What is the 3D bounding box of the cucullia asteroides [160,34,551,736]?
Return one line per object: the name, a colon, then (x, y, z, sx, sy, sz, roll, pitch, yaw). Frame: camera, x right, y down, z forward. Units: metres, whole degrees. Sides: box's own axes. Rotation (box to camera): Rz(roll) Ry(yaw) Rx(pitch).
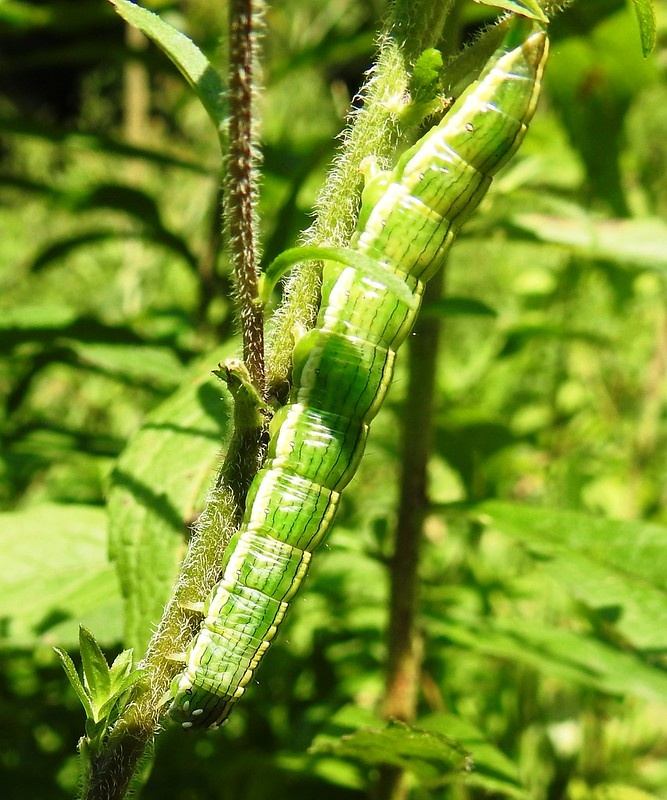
cucullia asteroides: (0.022, -0.020, 1.048, 0.157, 0.642, 0.109, 18, -4, -4)
